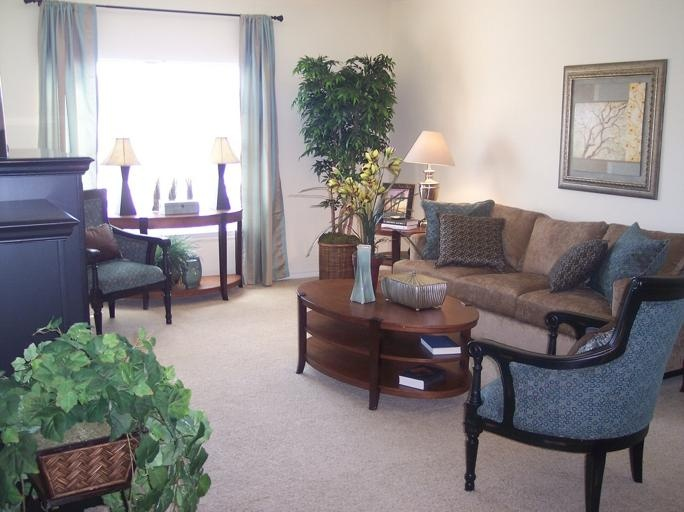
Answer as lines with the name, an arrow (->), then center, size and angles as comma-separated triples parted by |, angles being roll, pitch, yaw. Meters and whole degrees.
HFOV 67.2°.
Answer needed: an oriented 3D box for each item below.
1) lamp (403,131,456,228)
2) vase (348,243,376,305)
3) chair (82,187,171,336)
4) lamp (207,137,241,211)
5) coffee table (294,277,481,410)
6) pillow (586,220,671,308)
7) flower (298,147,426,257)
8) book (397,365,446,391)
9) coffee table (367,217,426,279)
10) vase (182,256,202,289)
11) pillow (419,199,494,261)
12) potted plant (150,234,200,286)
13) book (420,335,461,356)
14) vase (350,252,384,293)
lamp -> 0.830, -0.900, 5.497 | 0.652, 1.081, 0.700 | -1, 8, -2
vase -> 0.135, 0.115, 3.305 | 0.138, 0.354, 0.143 | 4, 4, 42
chair -> -1.964, 0.025, 4.315 | 0.747, 1.157, 0.737 | 6, 13, 28
lamp -> -1.208, -0.865, 5.332 | 0.255, 0.732, 0.661 | -3, 14, -12
coffee table -> 0.242, 0.555, 3.521 | 0.835, 0.634, 1.334 | -10, 15, -43
pillow -> 1.983, 0.046, 3.583 | 0.353, 0.594, 0.646 | 10, -9, 8
flower -> 0.165, -0.521, 4.899 | 1.138, 1.052, 1.174 | 2, 6, -7
book -> 0.484, 0.728, 3.075 | 0.292, 0.069, 0.203 | 1, 13, 4
coffee table -> 0.586, -0.108, 5.188 | 0.514, 0.525, 0.488 | -11, 15, -43
vase -> -1.457, 0.187, 5.087 | 0.165, 0.243, 0.177 | -7, -7, 10
pillow -> 1.019, -0.215, 4.530 | 0.529, 0.543, 0.186 | 2, -4, -6
potted plant -> -1.546, 0.062, 4.998 | 0.411, 0.445, 0.425 | -3, 0, 15
book -> 0.596, 0.536, 3.129 | 0.207, 0.056, 0.239 | -3, 13, -13
vase -> 0.192, 0.097, 3.620 | 0.244, 0.296, 0.260 | -3, 6, -25
